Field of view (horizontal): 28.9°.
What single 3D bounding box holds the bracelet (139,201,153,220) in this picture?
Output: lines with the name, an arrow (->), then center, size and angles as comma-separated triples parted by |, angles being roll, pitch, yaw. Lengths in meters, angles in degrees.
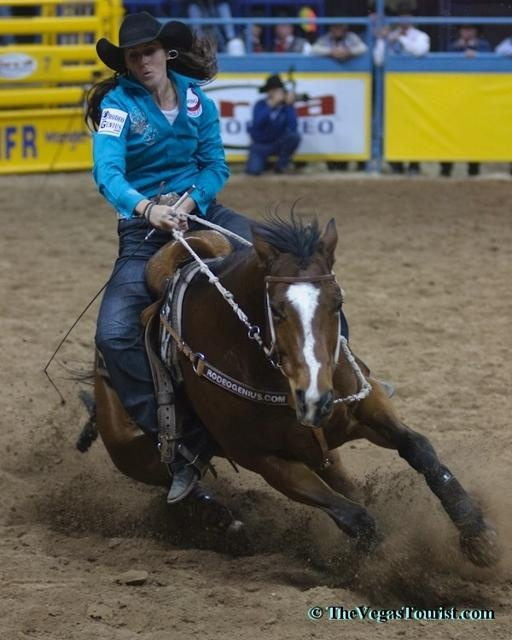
bracelet -> -0.514, -0.505, 4.645 | 0.074, 0.039, 0.097 | -26, 22, 3

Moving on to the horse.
horse -> -0.173, 0.248, 5.254 | 1.085, 1.371, 3.043 | -15, 8, -28

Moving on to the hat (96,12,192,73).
hat -> -0.567, -1.397, 5.054 | 0.495, 0.287, 0.393 | -4, 16, -1

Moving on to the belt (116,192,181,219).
belt -> -0.515, -0.587, 4.833 | 0.279, 0.078, 0.185 | -11, 5, -8
